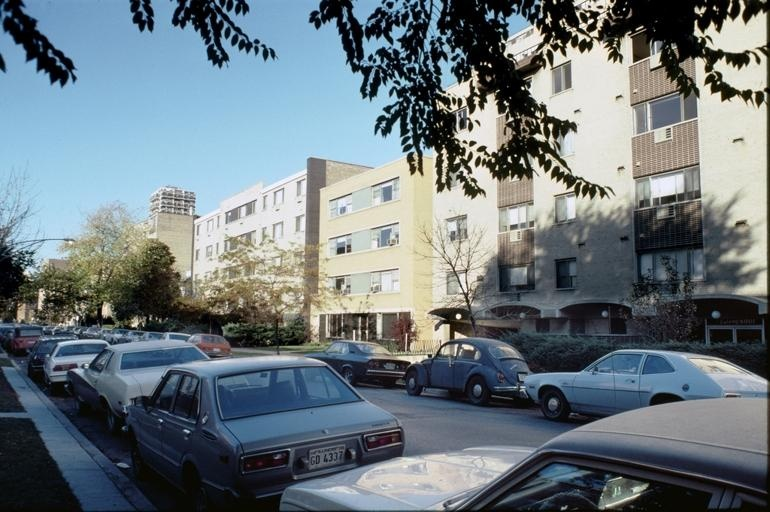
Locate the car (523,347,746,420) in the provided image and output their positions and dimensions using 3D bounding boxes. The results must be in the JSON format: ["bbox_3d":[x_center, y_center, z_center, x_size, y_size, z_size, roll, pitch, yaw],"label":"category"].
[{"bbox_3d":[5.617,2.855,13.623,1.978,1.204,3.521,7,-11,-35],"label":"car"}]

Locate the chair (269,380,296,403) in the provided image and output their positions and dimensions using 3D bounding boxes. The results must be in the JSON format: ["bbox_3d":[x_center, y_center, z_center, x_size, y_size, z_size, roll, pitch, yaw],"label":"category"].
[{"bbox_3d":[-1.365,1.806,8.040,0.271,0.271,0.290,11,-25,-24],"label":"chair"}]

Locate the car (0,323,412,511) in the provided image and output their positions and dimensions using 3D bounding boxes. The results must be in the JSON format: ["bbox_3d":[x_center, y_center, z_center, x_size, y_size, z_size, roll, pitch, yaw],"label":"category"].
[{"bbox_3d":[-2.305,2.145,8.559,1.924,1.279,4.065,5,-6,-42],"label":"car"}]
